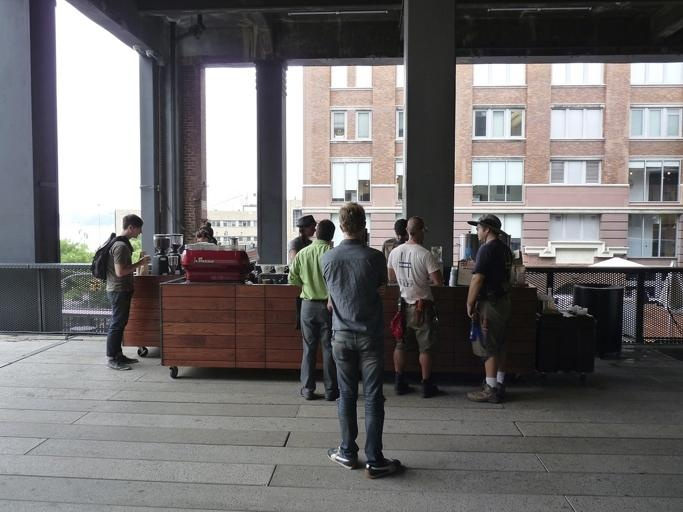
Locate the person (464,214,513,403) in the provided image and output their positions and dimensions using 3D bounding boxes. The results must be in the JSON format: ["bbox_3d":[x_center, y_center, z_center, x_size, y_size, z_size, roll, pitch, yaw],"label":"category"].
[{"bbox_3d":[1.915,0.676,9.708,0.540,2.396,0.619,3,11,12],"label":"person"}]

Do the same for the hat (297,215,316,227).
[{"bbox_3d":[-0.515,-0.491,10.477,0.165,0.076,0.200,-25,-4,-42],"label":"hat"}]

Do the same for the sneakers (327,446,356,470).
[{"bbox_3d":[0.006,2.317,8.499,0.154,0.163,0.419,0,12,-43],"label":"sneakers"}]

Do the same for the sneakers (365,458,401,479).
[{"bbox_3d":[0.469,2.386,8.363,0.460,0.192,0.164,-3,0,-25],"label":"sneakers"}]

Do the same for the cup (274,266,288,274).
[{"bbox_3d":[-0.841,0.197,10.450,0.154,0.096,0.105,0,-1,-16],"label":"cup"}]

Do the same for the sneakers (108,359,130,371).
[{"bbox_3d":[-3.177,1.569,10.599,0.350,0.156,0.135,2,-3,-6],"label":"sneakers"}]

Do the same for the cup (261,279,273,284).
[{"bbox_3d":[-1.057,0.356,10.355,0.203,0.074,0.092,7,13,32],"label":"cup"}]

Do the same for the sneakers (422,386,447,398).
[{"bbox_3d":[1.214,1.779,9.841,0.330,0.199,0.131,-4,4,-40],"label":"sneakers"}]

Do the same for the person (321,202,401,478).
[{"bbox_3d":[0.199,0.940,8.327,0.635,2.980,0.952,-7,13,-34],"label":"person"}]

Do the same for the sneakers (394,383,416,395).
[{"bbox_3d":[0.843,1.778,9.941,0.126,0.177,0.264,1,4,38],"label":"sneakers"}]

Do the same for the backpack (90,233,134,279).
[{"bbox_3d":[-3.362,0.007,10.628,0.704,0.736,0.495,10,0,-21],"label":"backpack"}]

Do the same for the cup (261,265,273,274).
[{"bbox_3d":[-1.034,0.183,10.470,0.148,0.100,0.259,5,12,23],"label":"cup"}]

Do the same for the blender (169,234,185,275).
[{"bbox_3d":[-2.518,-0.038,11.244,0.215,0.532,0.695,-2,11,-13],"label":"blender"}]

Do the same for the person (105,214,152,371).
[{"bbox_3d":[-3.167,0.495,10.718,0.525,2.173,0.751,1,11,1],"label":"person"}]

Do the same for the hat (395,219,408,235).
[{"bbox_3d":[0.805,-0.393,9.967,0.156,0.199,0.178,1,-28,9],"label":"hat"}]

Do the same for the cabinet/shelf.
[{"bbox_3d":[3.387,1.342,10.429,0.904,1.035,1.146,-3,-15,36],"label":"cabinet/shelf"}]
